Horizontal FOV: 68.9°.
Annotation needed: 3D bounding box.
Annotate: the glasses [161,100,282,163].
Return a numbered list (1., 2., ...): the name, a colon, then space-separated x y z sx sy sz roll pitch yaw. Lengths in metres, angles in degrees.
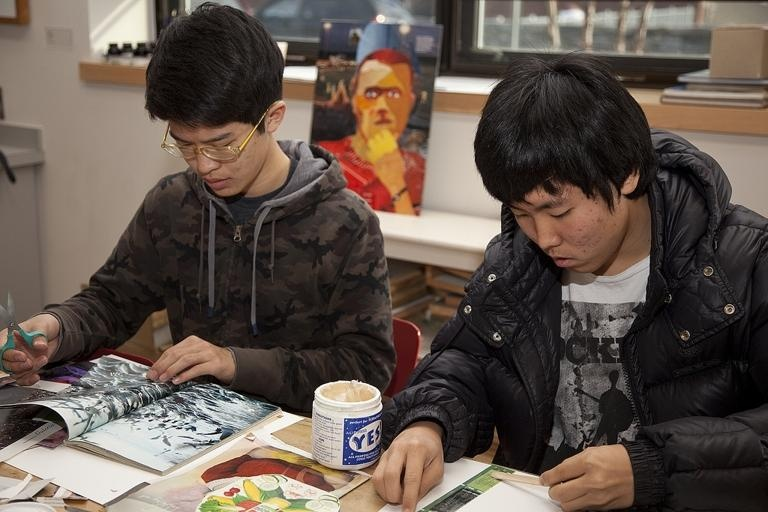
1. glasses: -0.465 -0.326 1.575 0.224 0.066 0.215 12 51 32
